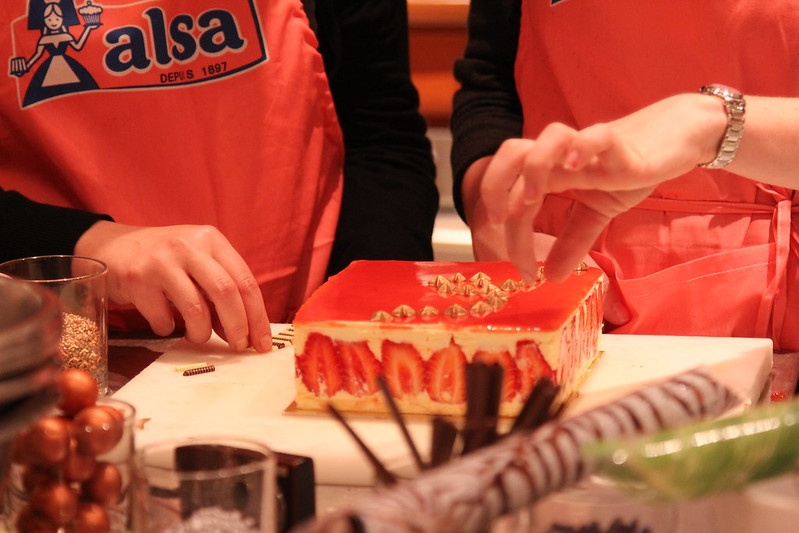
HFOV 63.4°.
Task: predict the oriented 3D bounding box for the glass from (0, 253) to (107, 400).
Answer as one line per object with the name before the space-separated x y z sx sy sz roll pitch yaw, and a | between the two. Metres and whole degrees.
glass | -0.533 0.092 1.059 0.159 0.229 0.132 12 27 30
